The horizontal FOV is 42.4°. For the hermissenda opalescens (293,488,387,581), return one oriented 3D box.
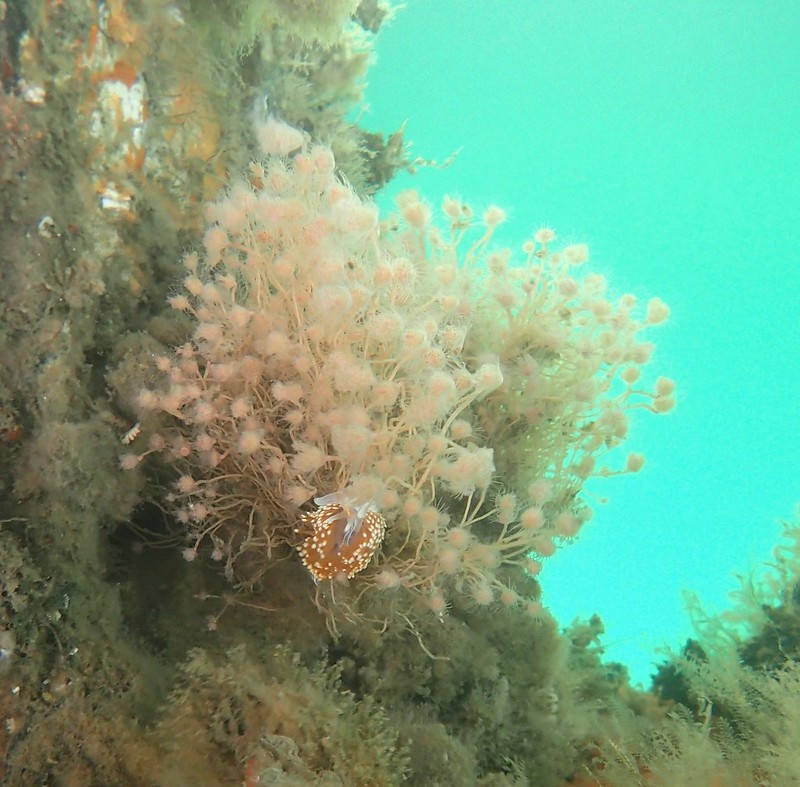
[{"bbox_3d":[-0.185,0.408,2.981,0.195,0.204,0.218,-5,-51,31],"label":"hermissenda opalescens"}]
